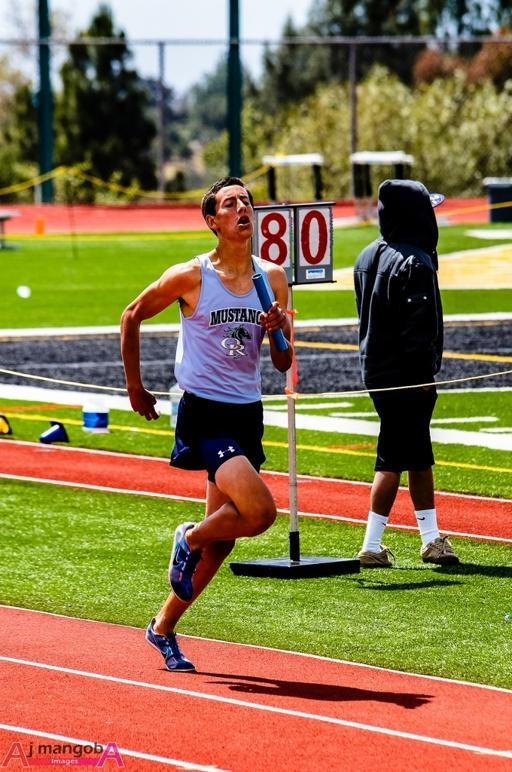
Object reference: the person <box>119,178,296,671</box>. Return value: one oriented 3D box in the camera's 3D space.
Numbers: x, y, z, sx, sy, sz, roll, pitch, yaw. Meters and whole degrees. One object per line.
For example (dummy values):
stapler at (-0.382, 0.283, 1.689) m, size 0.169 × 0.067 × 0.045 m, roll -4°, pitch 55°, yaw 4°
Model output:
person at (-0.179, 0.132, 4.399) m, size 0.573 × 1.697 × 0.571 m, roll 1°, pitch 6°, yaw 8°

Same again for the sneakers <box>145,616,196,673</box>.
sneakers at (-0.292, 0.903, 4.406) m, size 0.259 × 0.103 × 0.089 m, roll 40°, pitch 16°, yaw 18°

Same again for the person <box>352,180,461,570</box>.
person at (0.709, -0.055, 6.083) m, size 0.512 × 1.827 × 0.402 m, roll 1°, pitch 6°, yaw 4°

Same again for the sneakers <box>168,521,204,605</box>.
sneakers at (-0.238, 0.598, 4.299) m, size 0.102 × 0.268 × 0.132 m, roll 0°, pitch 6°, yaw -2°
